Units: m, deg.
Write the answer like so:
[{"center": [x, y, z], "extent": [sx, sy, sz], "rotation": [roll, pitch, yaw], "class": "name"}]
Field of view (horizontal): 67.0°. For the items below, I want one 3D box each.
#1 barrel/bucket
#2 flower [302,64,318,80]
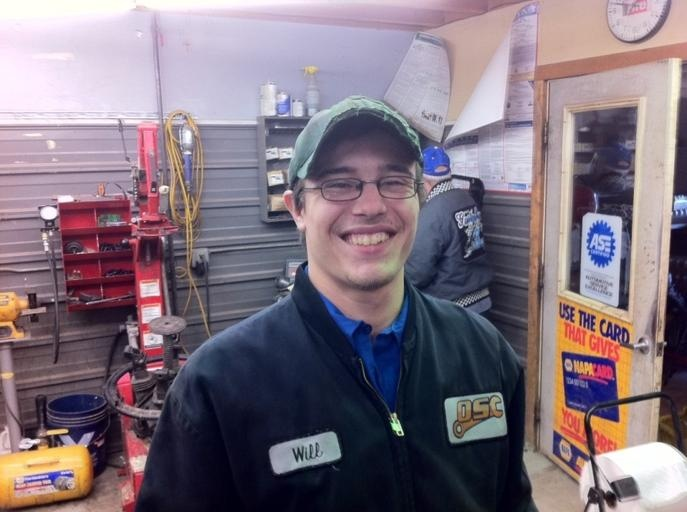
[{"center": [-2.248, 1.560, 4.436], "extent": [0.473, 0.668, 0.419], "rotation": [1, 7, 35], "class": "barrel/bucket"}, {"center": [-0.331, -1.796, 5.020], "extent": [0.110, 0.066, 0.159], "rotation": [0, 16, 17], "class": "flower"}]
